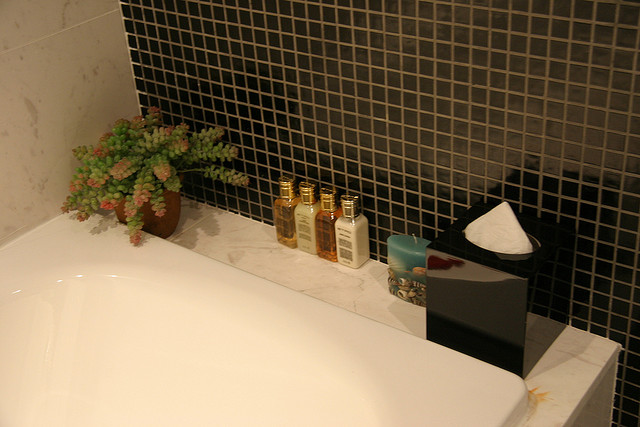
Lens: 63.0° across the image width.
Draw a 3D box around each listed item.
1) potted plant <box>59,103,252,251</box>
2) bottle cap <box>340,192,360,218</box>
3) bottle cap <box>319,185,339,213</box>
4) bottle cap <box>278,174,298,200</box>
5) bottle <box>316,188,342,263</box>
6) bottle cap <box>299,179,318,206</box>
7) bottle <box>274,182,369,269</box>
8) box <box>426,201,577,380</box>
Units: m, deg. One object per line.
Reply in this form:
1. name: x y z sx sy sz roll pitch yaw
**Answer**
1. potted plant: -0.507 -0.112 1.487 0.463 0.367 0.441 -19 27 -40
2. bottle cap: 0.078 -0.015 1.330 0.048 0.044 0.052 -6 14 -16
3. bottle cap: 0.021 -0.038 1.358 0.053 0.062 0.057 2 21 7
4. bottle cap: -0.092 -0.066 1.417 0.057 0.050 0.055 4 14 30
5. bottle: 0.021 0.036 1.383 0.077 0.217 0.044 6 24 16
6. bottle cap: -0.032 -0.057 1.386 0.056 0.047 0.048 -5 27 -4
7. bottle: 0.013 0.028 1.388 0.244 0.165 0.069 17 42 28
8. box: 0.391 0.159 1.130 0.235 0.323 0.214 16 27 36
